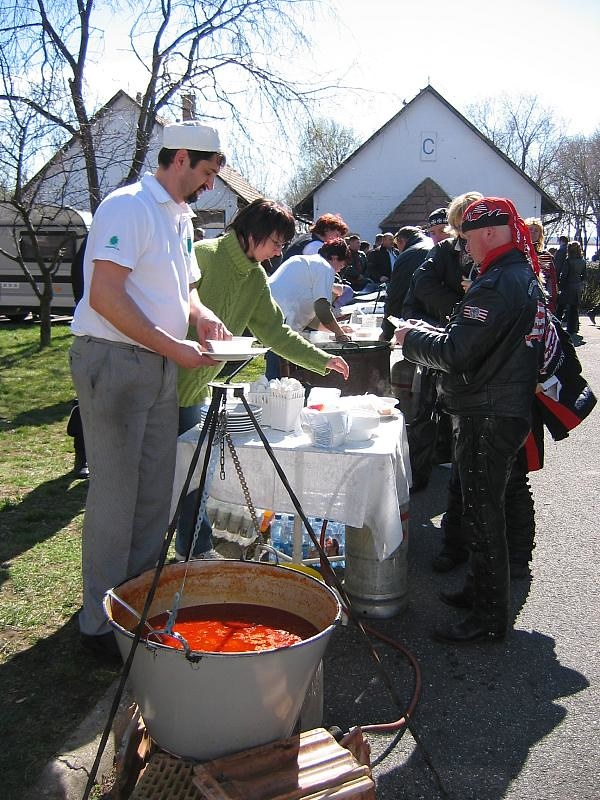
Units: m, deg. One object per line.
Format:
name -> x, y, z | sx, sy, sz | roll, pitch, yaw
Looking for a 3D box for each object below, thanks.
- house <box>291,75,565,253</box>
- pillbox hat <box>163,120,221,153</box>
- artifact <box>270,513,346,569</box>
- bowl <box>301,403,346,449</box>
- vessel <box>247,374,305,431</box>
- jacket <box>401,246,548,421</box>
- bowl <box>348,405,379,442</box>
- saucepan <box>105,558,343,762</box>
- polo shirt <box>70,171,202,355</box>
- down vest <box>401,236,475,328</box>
house -> 5.553, -10.838, 31.759 | 11.625, 6.549, 11.417 | -2, 13, -1
pillbox hat -> -0.380, -0.930, 2.363 | 0.204, 0.128, 0.179 | 3, 9, 3
artifact -> 0.045, 0.753, 3.697 | 0.410, 0.094, 0.408 | 4, 11, 16
bowl -> 0.115, 0.108, 3.029 | 0.184, 0.155, 0.187 | -1, 5, 0
vessel -> -0.087, 0.006, 3.312 | 0.316, 0.307, 0.193 | 3, 14, 18
jacket -> 0.796, -0.313, 3.136 | 0.645, 0.804, 0.812 | 5, 11, 24
bowl -> 0.284, 0.102, 3.113 | 0.146, 0.097, 0.144 | 0, 11, 0
saucepan -> -0.222, 0.700, 1.927 | 0.547, 0.376, 0.565 | 1, 3, -11
polo shirt -> -0.531, -0.487, 2.357 | 0.454, 0.610, 0.415 | -2, 11, -28
down vest -> 1.114, -0.798, 5.044 | 0.260, 0.627, 0.582 | 24, 7, -31
